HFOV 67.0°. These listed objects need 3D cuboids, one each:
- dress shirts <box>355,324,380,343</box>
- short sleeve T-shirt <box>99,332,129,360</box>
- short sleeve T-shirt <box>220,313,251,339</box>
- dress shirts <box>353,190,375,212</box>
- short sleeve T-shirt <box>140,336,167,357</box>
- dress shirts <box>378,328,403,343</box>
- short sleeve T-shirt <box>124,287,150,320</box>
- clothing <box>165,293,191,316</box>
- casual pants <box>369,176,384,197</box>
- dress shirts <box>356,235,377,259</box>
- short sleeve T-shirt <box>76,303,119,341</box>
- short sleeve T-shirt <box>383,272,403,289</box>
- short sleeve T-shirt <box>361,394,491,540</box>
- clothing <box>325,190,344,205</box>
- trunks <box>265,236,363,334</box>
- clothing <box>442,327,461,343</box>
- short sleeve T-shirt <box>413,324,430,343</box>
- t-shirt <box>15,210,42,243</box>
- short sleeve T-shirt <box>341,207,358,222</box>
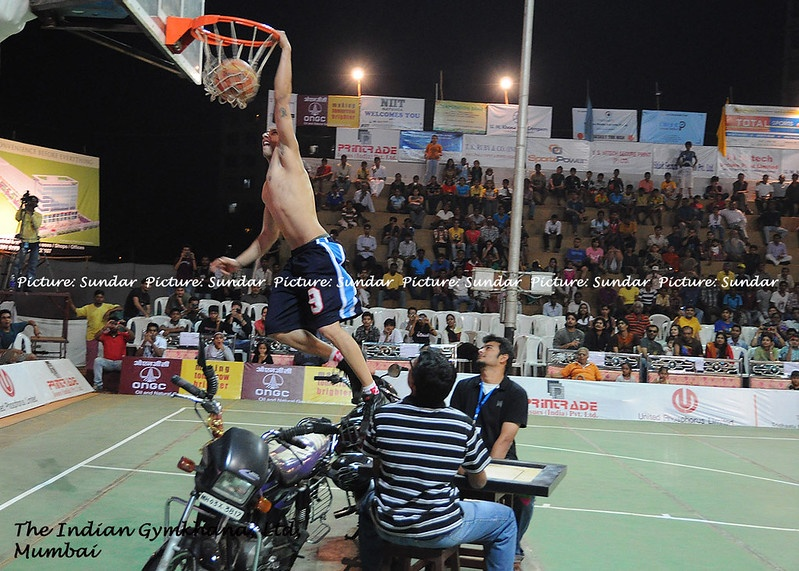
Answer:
[{"bbox_3d":[-0.729,1.189,14.323,0.759,0.373,0.767,-1,9,7],"label":"dress shirts"},{"bbox_3d":[-6.381,1.358,13.522,0.686,0.541,0.354,4,-11,-30],"label":"short sleeve T-shirt"},{"bbox_3d":[-3.967,1.045,14.796,0.598,0.257,0.712,16,-6,5],"label":"short sleeve T-shirt"},{"bbox_3d":[-1.308,-3.063,22.027,1.057,0.551,0.416,21,-11,18],"label":"dress shirts"},{"bbox_3d":[-5.561,1.383,13.692,0.593,0.432,0.492,4,-1,-12],"label":"short sleeve T-shirt"},{"bbox_3d":[-0.211,1.206,14.413,0.462,0.363,0.219,2,-28,3],"label":"dress shirts"},{"bbox_3d":[-6.840,0.438,15.775,0.568,0.818,1.041,5,-1,-23],"label":"short sleeve T-shirt"},{"bbox_3d":[-5.689,0.506,15.603,0.613,0.574,0.389,14,-1,0],"label":"clothing"},{"bbox_3d":[-0.892,-3.839,23.563,0.643,0.633,0.321,2,0,-6],"label":"casual pants"},{"bbox_3d":[-1.084,-1.240,19.674,0.912,0.931,0.564,1,-15,-3],"label":"dress shirts"},{"bbox_3d":[-7.333,0.839,14.651,1.194,0.871,0.297,1,1,-10],"label":"short sleeve T-shirt"},{"bbox_3d":[-0.140,-0.100,18.263,0.882,0.513,0.426,1,-5,1],"label":"short sleeve T-shirt"},{"bbox_3d":[0.147,1.370,4.560,1.160,0.934,0.587,6,-23,-2],"label":"short sleeve T-shirt"},{"bbox_3d":[-2.337,-3.146,22.180,0.842,0.715,0.499,2,1,-3],"label":"clothing"},{"bbox_3d":[-0.829,-0.082,5.972,0.608,0.839,1.036,-10,10,-41],"label":"trunks"},{"bbox_3d":[1.295,1.276,14.968,0.460,0.340,0.299,-2,-2,18],"label":"clothing"},{"bbox_3d":[0.542,1.188,14.721,0.443,0.245,0.493,4,39,5],"label":"short sleeve T-shirt"},{"bbox_3d":[-8.546,-1.373,13.976,0.416,0.803,0.600,5,-2,-33],"label":"t-shirt"},{"bbox_3d":[-1.741,-2.495,21.227,0.637,0.526,0.336,1,-16,-5],"label":"short sleeve T-shirt"}]
